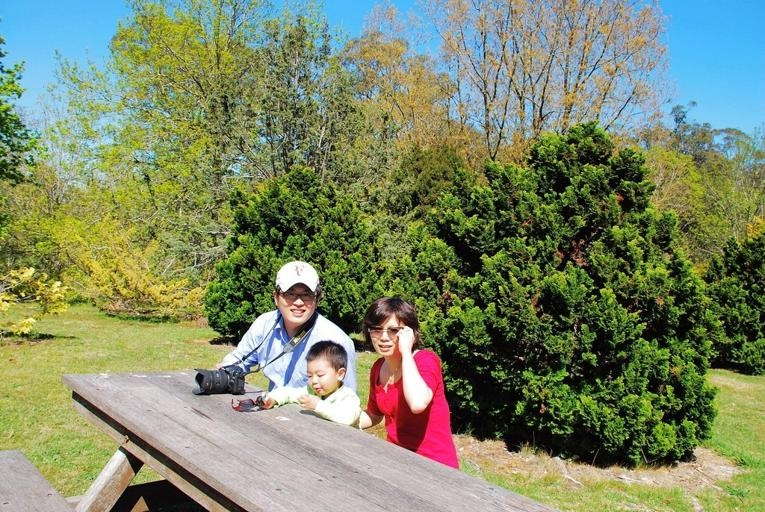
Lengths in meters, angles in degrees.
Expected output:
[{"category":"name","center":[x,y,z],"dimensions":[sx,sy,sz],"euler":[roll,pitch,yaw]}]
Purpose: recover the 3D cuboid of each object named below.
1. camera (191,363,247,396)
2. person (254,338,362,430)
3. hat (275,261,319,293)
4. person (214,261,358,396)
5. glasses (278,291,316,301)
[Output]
[{"category":"camera","center":[-1.483,1.156,4.637],"dimensions":[0.304,0.188,0.319],"euler":[2,-3,-8]},{"category":"person","center":[-0.656,1.026,4.766],"dimensions":[0.764,1.165,0.762],"euler":[4,-3,38]},{"category":"hat","center":[-0.831,0.217,4.958],"dimensions":[0.406,0.276,0.254],"euler":[1,10,-13]},{"category":"person","center":[-0.974,0.963,5.108],"dimensions":[1.204,1.713,0.776],"euler":[4,12,-6]},{"category":"glasses","center":[-0.818,0.394,4.894],"dimensions":[0.323,0.085,0.039],"euler":[2,10,-13]}]
